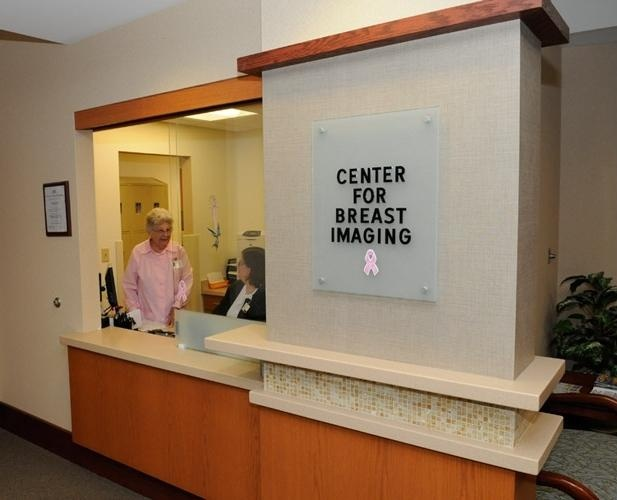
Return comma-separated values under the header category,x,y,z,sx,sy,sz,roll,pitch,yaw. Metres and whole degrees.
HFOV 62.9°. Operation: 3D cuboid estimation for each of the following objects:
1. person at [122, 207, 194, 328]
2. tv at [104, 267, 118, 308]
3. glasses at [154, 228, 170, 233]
category,x,y,z,sx,sy,sz,roll,pitch,yaw
person,-1.135,0.167,3.645,0.392,0.889,1.013,-8,15,-21
tv,-1.600,0.309,4.081,0.057,0.481,0.326,-6,-2,-26
glasses,-1.113,-0.149,3.860,0.107,0.036,0.032,-7,14,-16
